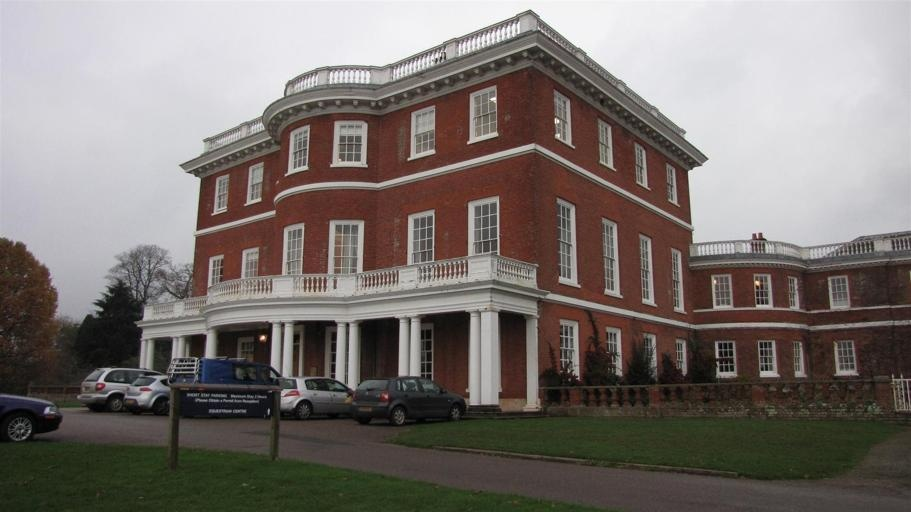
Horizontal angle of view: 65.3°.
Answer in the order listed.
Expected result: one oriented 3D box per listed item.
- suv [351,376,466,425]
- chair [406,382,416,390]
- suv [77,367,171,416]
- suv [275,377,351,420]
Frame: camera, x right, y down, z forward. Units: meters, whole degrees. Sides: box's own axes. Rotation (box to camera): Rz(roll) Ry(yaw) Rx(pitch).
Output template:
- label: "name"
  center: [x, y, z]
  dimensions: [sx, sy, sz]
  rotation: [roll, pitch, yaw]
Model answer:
- label: "suv"
  center: [-2.193, 6.675, 33.226]
  dimensions: [4.239, 1.481, 2.342]
  rotation: [3, -9, -34]
- label: "chair"
  center: [-2.072, 5.992, 32.812]
  dimensions: [0.390, 0.361, 0.405]
  rotation: [-5, -10, 32]
- label: "suv"
  center: [-18.132, 7.106, 37.509]
  dimensions: [3.601, 2.274, 1.039]
  rotation: [2, 2, 12]
- label: "suv"
  center: [-7.179, 7.186, 35.359]
  dimensions: [4.041, 1.584, 2.388]
  rotation: [1, -4, -38]
